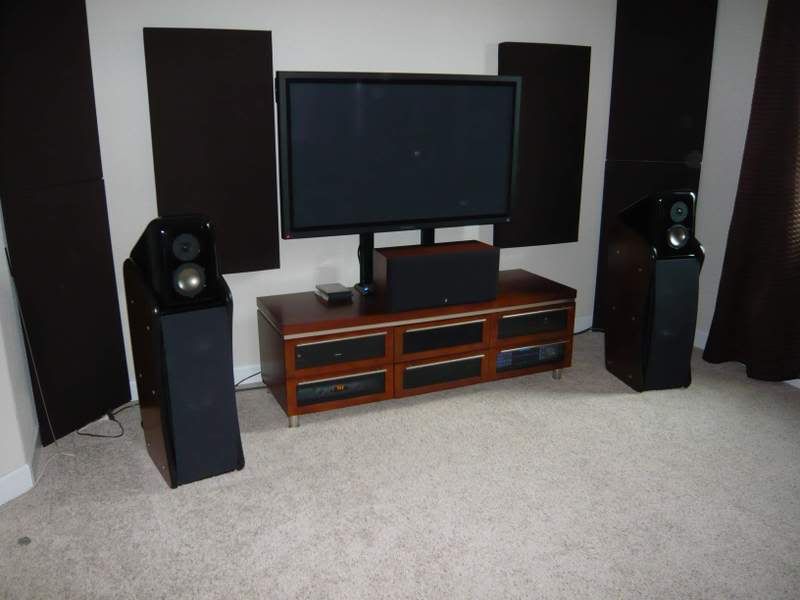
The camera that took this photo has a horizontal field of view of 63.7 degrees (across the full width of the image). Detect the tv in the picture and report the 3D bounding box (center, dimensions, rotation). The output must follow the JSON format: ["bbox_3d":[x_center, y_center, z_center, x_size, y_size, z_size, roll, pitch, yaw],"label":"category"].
[{"bbox_3d":[-0.035,-0.695,3.703,1.113,1.159,0.193,-6,18,-20],"label":"tv"}]

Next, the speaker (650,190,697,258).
[{"bbox_3d":[1.577,-0.437,3.710,0.277,0.365,0.106,-5,20,-12],"label":"speaker"}]
